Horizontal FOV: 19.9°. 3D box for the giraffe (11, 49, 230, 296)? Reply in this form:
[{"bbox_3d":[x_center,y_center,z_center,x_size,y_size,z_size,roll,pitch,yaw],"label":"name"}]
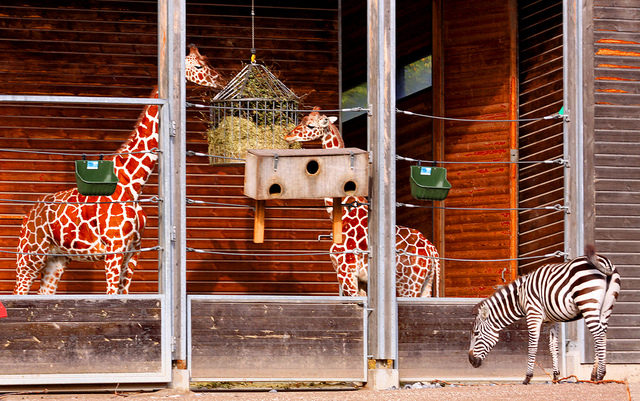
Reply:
[{"bbox_3d":[-2.110,-0.265,17.462,2.116,2.539,1.494,-8,-13,32],"label":"giraffe"}]

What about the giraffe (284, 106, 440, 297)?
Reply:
[{"bbox_3d":[0.509,0.064,17.731,1.643,1.855,0.647,7,-15,-37],"label":"giraffe"}]

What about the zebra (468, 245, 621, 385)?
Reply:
[{"bbox_3d":[2.135,1.146,17.102,0.605,1.131,1.880,10,-14,-42],"label":"zebra"}]
